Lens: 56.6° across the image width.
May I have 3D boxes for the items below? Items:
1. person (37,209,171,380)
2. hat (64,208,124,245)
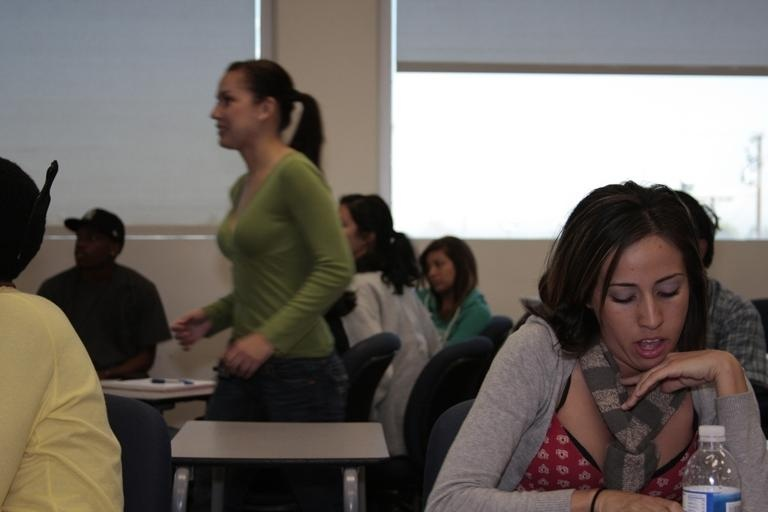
[{"bbox_3d":[-1.440,0.187,3.570,0.708,0.818,0.464,2,5,-8],"label":"person"},{"bbox_3d":[-1.588,-0.153,3.892,0.250,0.127,0.174,27,-6,-21],"label":"hat"}]
